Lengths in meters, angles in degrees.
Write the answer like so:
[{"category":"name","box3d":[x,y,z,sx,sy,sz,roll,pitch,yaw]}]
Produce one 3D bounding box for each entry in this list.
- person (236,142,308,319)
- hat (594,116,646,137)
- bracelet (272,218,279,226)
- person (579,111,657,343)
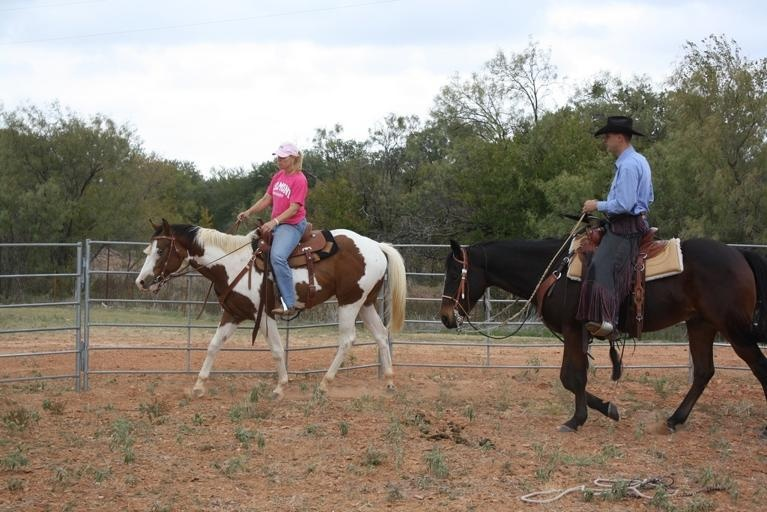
[{"category":"person","box3d":[-1.993,-0.518,16.658,1.035,2.522,0.677,2,1,-9]},{"category":"hat","box3d":[4.289,-2.327,15.354,0.814,0.372,0.695,6,2,-2]},{"category":"bracelet","box3d":[-2.073,-0.672,16.429,0.104,0.113,0.028,10,18,32]},{"category":"person","box3d":[4.094,-0.547,15.143,1.250,3.695,0.513,1,1,-17]}]
